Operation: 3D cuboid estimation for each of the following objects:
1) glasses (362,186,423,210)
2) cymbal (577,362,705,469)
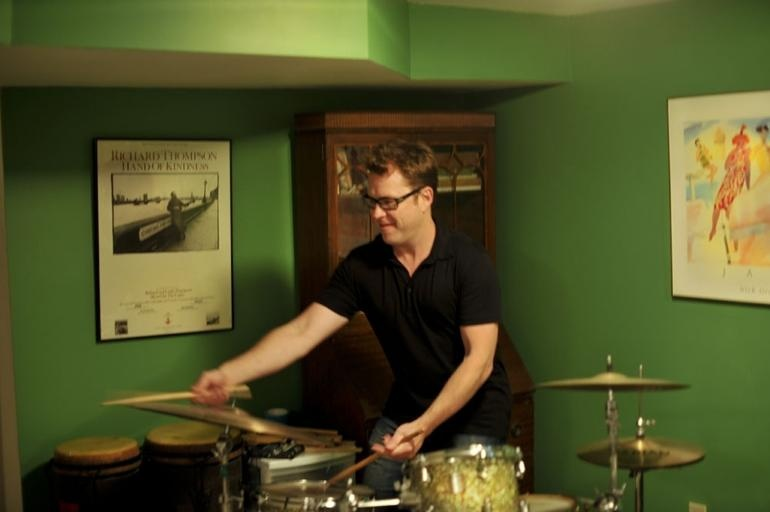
[{"bbox_3d":[0.034,-0.264,3.155,0.277,0.113,0.091,-2,-2,2],"label":"glasses"},{"bbox_3d":[1.300,0.786,3.470,0.477,0.481,0.491,-9,-1,8],"label":"cymbal"}]
